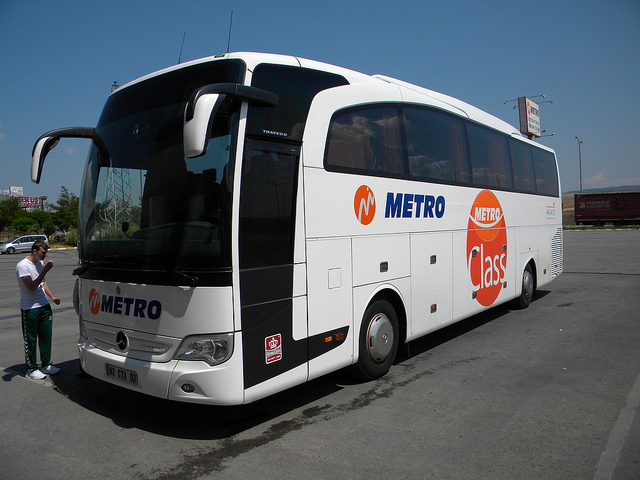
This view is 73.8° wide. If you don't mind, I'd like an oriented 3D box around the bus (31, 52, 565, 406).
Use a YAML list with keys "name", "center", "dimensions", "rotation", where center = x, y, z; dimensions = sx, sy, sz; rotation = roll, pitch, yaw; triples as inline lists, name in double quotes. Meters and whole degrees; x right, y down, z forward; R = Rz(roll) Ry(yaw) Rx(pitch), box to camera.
- name: "bus"
  center: [1.500, -0.915, 9.945]
  dimensions: [4.040, 5.170, 12.593]
  rotation: [0, 2, 38]
